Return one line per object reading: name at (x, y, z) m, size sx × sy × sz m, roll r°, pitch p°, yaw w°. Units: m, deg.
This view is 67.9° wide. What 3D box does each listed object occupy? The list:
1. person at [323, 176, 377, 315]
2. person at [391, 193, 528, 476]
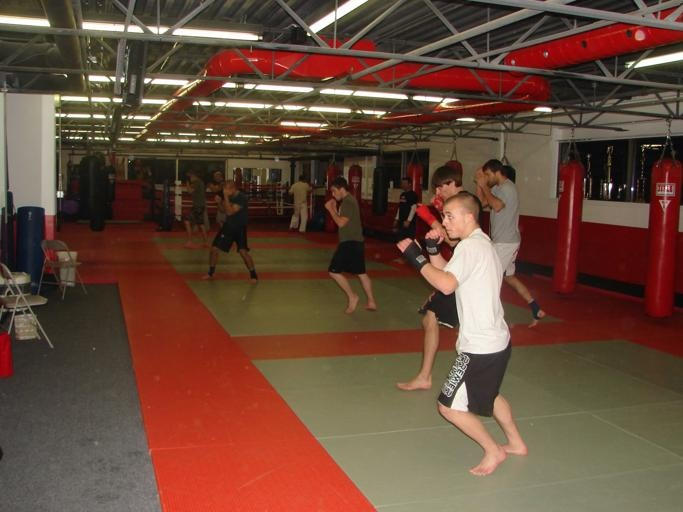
person at (0.079, -0.123, 7.324) m, size 0.485 × 2.008 × 1.030 m, roll 4°, pitch 11°, yaw 29°
person at (0.879, 0.541, 3.570) m, size 0.944 × 1.953 × 0.501 m, roll -1°, pitch 9°, yaw 0°
